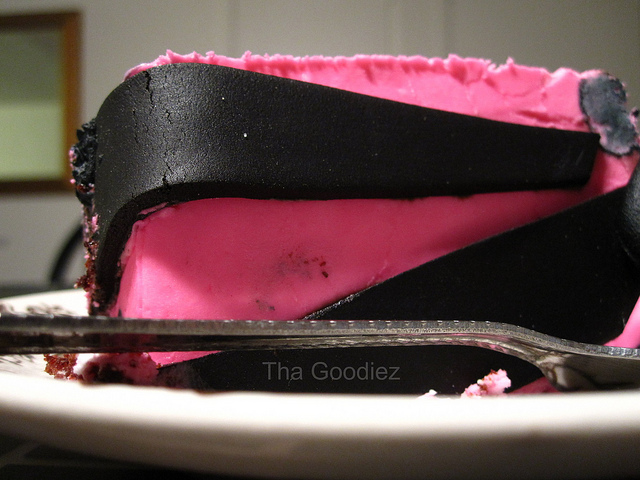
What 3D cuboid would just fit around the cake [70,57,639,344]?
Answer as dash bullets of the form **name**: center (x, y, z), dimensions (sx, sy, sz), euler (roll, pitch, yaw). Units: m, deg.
- **cake**: center (0.034, -0.064, 1.037), dimensions (0.542, 0.273, 0.432), euler (2, -3, -17)
